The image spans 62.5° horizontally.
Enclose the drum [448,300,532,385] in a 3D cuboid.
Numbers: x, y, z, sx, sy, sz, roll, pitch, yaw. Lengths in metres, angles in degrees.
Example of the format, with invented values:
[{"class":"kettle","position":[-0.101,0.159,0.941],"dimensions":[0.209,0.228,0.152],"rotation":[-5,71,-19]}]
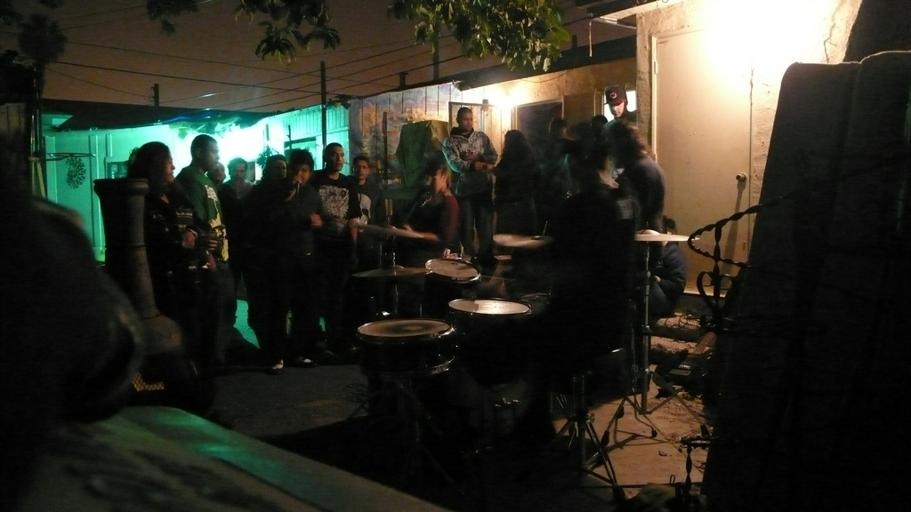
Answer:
[{"class":"drum","position":[0.254,0.592,5.426],"dimensions":[0.620,0.480,0.580],"rotation":[-1,4,0]}]

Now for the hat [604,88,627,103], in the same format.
[{"class":"hat","position":[1.905,-1.903,8.944],"dimensions":[0.200,0.214,0.247],"rotation":[0,9,15]}]

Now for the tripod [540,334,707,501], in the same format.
[{"class":"tripod","position":[1.368,1.172,5.463],"dimensions":[1.050,0.258,1.180],"rotation":[7,17,42]}]

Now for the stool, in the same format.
[{"class":"stool","position":[0.869,1.135,5.367],"dimensions":[0.811,0.815,0.768],"rotation":[-1,-4,19]}]
